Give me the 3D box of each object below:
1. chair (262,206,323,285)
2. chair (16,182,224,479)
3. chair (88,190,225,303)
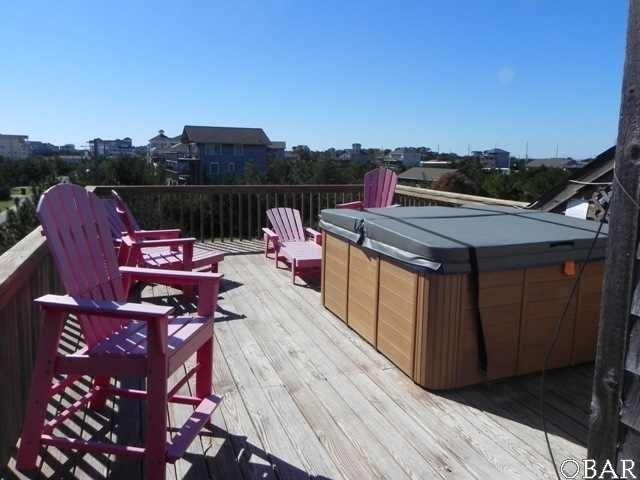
[{"bbox_3d":[-0.285,0.034,5.368,0.509,0.534,1.170,-3,14,-16],"label":"chair"},{"bbox_3d":[-0.979,0.378,2.341,0.841,1.302,0.860,2,14,6],"label":"chair"},{"bbox_3d":[-1.634,0.028,4.562,1.313,1.248,0.954,-3,11,-17],"label":"chair"}]
